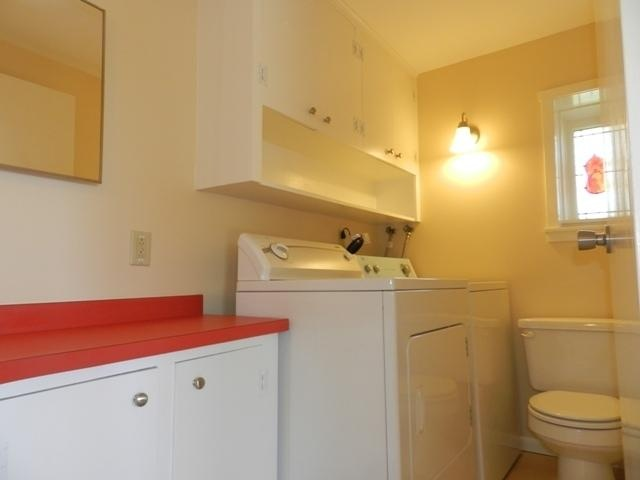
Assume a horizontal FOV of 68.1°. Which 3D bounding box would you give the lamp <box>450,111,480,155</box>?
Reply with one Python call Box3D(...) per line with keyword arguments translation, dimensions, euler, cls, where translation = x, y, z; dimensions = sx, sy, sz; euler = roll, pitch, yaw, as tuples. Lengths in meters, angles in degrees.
Box3D(translation=(1.023, -0.783, 3.376), dimensions=(0.222, 0.302, 0.228), euler=(-5, -5, 24), cls="lamp")
